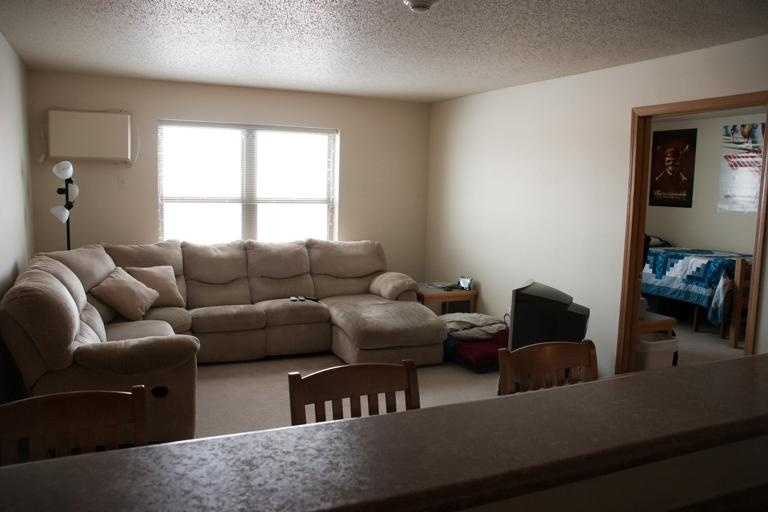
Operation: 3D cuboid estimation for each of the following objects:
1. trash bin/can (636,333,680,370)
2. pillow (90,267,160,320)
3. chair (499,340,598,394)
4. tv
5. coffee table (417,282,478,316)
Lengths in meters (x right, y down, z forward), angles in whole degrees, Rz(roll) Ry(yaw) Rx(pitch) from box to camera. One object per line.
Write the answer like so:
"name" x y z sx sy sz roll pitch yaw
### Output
"trash bin/can" 2.487 0.874 5.104 0.327 0.295 0.312 -2 4 23
"pillow" -2.292 0.374 4.984 0.316 0.281 0.535 -3 4 13
"chair" 0.678 0.499 2.492 0.508 0.244 0.219 -5 4 -23
"tv" 1.343 0.438 4.533 0.580 0.538 0.593 0 0 13
"coffee table" 0.715 0.529 6.746 0.500 0.440 0.479 -3 11 -19
